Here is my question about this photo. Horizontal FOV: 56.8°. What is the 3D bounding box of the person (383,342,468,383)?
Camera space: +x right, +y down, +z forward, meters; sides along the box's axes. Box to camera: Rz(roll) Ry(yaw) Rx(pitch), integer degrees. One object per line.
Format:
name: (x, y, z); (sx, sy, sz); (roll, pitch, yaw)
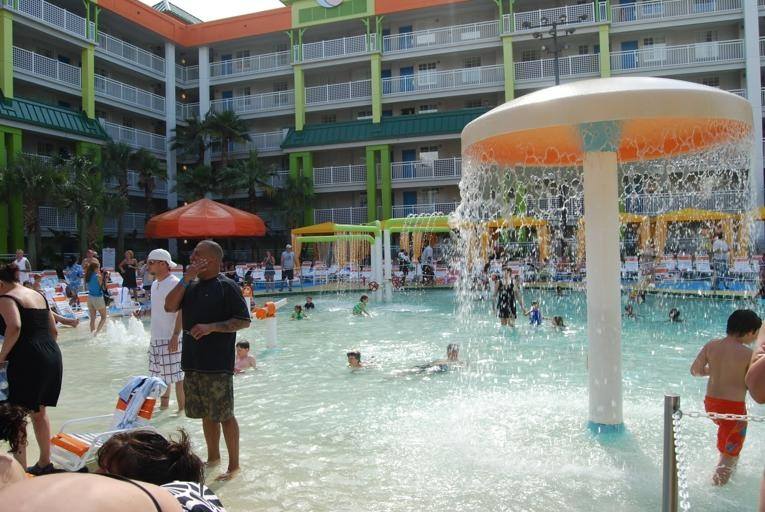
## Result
person: (1.011, 2.346, 15.076); (1.139, 0.431, 0.767); (-3, 5, -31)

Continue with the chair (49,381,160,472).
chair: (-4.219, 2.591, 11.012); (0.978, 1.365, 1.532); (5, -1, 39)

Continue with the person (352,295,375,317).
person: (-0.617, 1.518, 22.252); (0.639, 0.814, 0.586); (-4, 11, -23)

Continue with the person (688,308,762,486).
person: (5.277, 2.179, 10.820); (0.964, 2.167, 0.537); (-4, -3, 23)

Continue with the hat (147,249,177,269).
hat: (-3.983, 0.038, 12.843); (0.532, 0.326, 0.342); (-1, 7, -39)

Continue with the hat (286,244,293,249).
hat: (-4.068, -0.416, 30.967); (0.291, 0.150, 0.439); (1, 3, -19)
